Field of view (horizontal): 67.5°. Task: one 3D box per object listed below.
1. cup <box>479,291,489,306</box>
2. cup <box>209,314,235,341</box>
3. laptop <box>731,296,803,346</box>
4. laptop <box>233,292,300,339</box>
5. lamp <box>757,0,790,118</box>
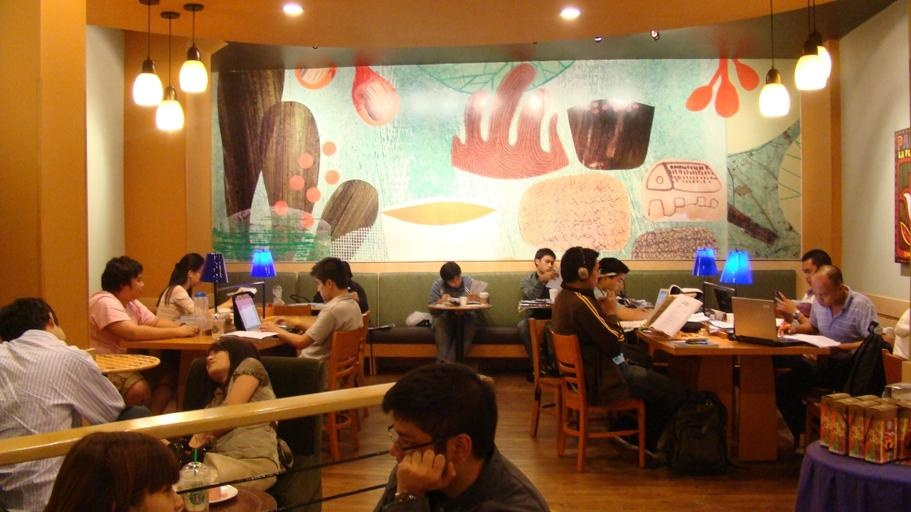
[{"bbox_3d":[0.375,0.576,8.994,0.141,0.146,0.141,0,1,0],"label":"cup"},{"bbox_3d":[-2.309,0.711,6.704,0.225,0.358,0.369,1,-4,-5],"label":"cup"},{"bbox_3d":[2.916,0.635,6.513,0.506,0.394,0.555,3,-4,-11],"label":"laptop"},{"bbox_3d":[-2.000,0.645,7.151,0.416,0.462,0.495,-9,1,5],"label":"laptop"},{"bbox_3d":[3.878,-2.256,8.268,0.329,1.365,3.411,0,6,26],"label":"lamp"}]
